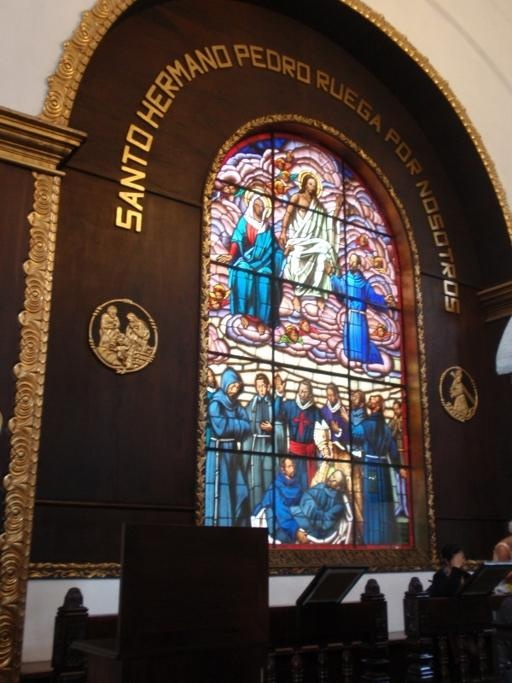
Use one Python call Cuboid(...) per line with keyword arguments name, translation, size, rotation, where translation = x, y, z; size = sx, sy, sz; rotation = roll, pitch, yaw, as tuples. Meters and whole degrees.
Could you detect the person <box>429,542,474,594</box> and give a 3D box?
Cuboid(name="person", translation=(1.521, 1.813, 6.414), size=(0.299, 0.454, 1.427), rotation=(-4, -19, 11))
